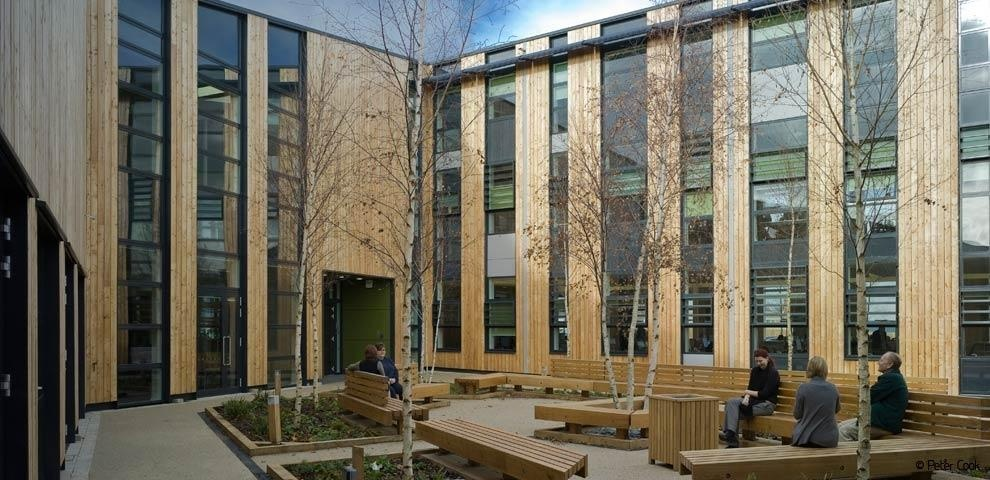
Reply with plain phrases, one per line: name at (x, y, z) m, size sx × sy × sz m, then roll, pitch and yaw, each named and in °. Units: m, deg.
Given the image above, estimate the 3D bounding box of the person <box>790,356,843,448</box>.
person at (8.564, 4.326, 21.083) m, size 1.204 × 2.375 × 0.404 m, roll -2°, pitch -12°, yaw 16°

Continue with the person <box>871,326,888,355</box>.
person at (14.326, 3.798, 29.378) m, size 0.275 × 0.841 × 0.979 m, roll 12°, pitch -4°, yaw -13°
